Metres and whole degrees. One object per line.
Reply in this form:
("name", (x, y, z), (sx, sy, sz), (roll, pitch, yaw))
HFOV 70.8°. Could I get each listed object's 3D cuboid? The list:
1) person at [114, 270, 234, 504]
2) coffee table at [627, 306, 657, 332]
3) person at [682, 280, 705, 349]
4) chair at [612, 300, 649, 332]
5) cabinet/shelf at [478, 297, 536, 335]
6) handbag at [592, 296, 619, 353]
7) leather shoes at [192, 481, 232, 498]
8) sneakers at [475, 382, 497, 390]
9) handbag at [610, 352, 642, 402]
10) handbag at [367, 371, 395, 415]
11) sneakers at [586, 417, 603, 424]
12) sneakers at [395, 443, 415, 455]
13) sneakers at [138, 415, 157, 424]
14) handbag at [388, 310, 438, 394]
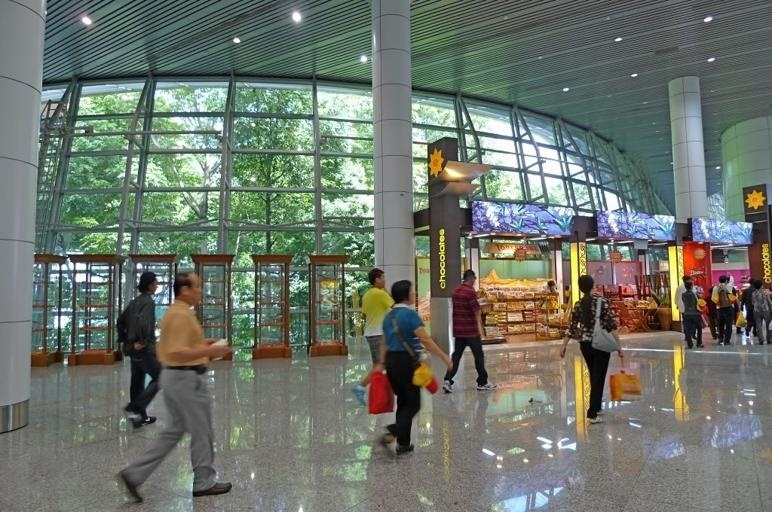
("person", (-2.378, 1.684, 6.287), (1.190, 2.231, 0.410), (-4, 8, -15))
("coffee table", (8.021, 1.997, 16.945), (0.903, 0.590, 0.853), (0, -8, 4))
("person", (7.724, 1.467, 13.639), (0.501, 1.792, 1.054), (2, 9, 30))
("chair", (7.611, 1.904, 16.918), (1.062, 1.231, 0.976), (0, -2, -30))
("cabinet/shelf", (3.331, 1.668, 15.127), (1.815, 1.508, 0.600), (0, -4, -22))
("handbag", (3.172, 0.985, 7.810), (0.345, 0.713, 0.269), (1, 8, 20))
("leather shoes", (-2.001, 2.740, 6.333), (0.454, 0.146, 0.155), (-1, -8, -9))
("sneakers", (1.760, 2.284, 9.506), (0.321, 0.121, 0.122), (0, -3, -11))
("handbag", (3.626, 1.865, 8.202), (0.535, 0.643, 0.453), (3, -27, 0))
("handbag", (-0.062, 1.775, 7.053), (0.344, 0.531, 0.303), (-3, 8, -10))
("sneakers", (3.038, 2.363, 7.854), (0.262, 0.100, 0.086), (-3, 2, -42))
("sneakers", (0.253, 2.530, 7.075), (0.277, 0.103, 0.088), (1, -12, -3))
("sneakers", (-3.549, 2.459, 8.113), (0.087, 0.068, 0.208), (-46, -27, 19))
("handbag", (0.372, 1.319, 7.075), (0.577, 1.052, 0.278), (0, 8, 12))
